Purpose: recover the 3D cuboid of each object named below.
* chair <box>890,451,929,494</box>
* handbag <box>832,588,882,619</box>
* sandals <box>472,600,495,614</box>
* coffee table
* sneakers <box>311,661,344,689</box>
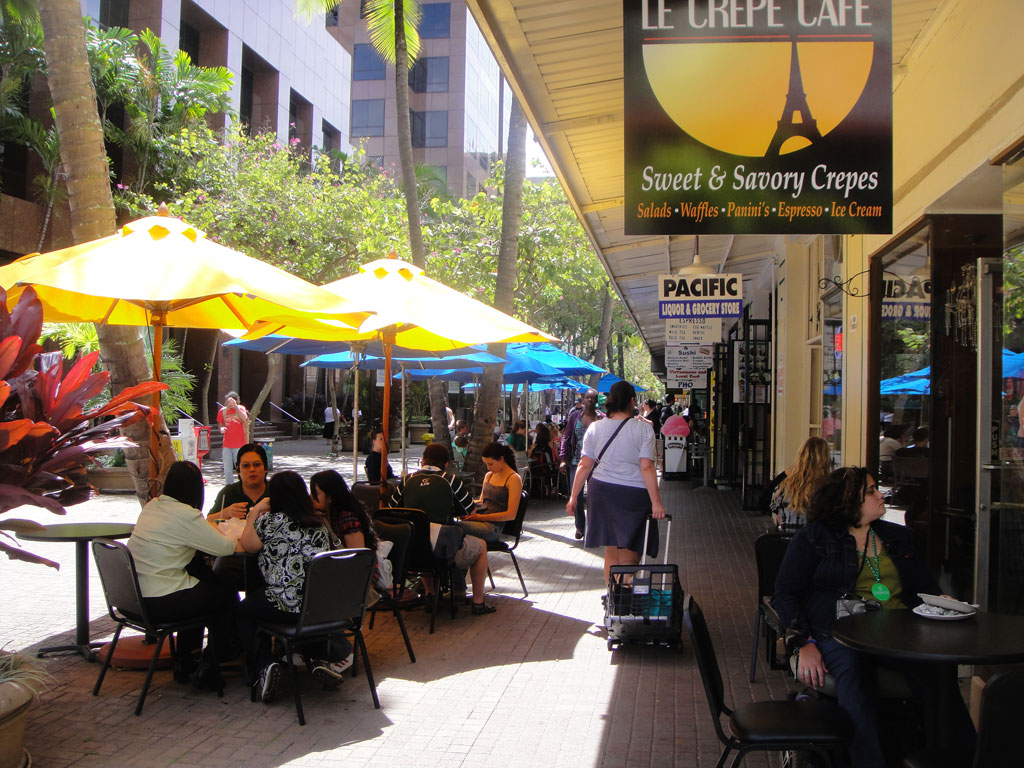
[{"bbox_3d":[3.789,0.811,7.474,0.259,0.323,0.425,0,-3,21],"label":"chair"},{"bbox_3d":[1.945,1.245,4.430,0.219,0.090,0.185,4,14,20],"label":"handbag"},{"bbox_3d":[-0.299,2.271,7.973,0.224,0.108,0.109,-3,3,-26],"label":"sandals"},{"bbox_3d":[-3.639,1.703,6.576,0.867,0.993,0.883,-6,-20,-24],"label":"coffee table"},{"bbox_3d":[-1.411,2.186,5.862,0.245,0.094,0.182,15,7,-26],"label":"sneakers"}]
